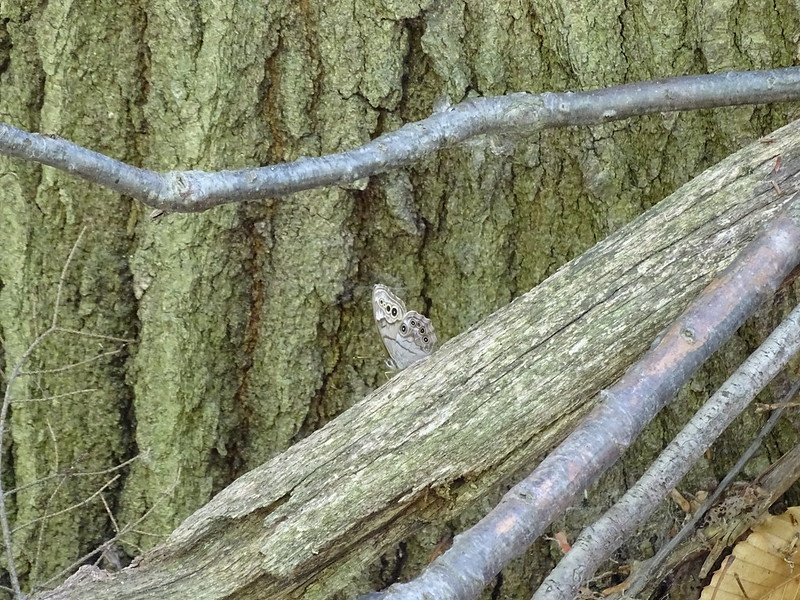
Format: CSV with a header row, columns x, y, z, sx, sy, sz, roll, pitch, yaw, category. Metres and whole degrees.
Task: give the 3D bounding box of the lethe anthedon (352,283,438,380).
x,y,z,sx,sy,sz,roll,pitch,yaw,category
-0.017,0.141,4.441,0.290,0.343,0.177,28,50,12,lethe anthedon
